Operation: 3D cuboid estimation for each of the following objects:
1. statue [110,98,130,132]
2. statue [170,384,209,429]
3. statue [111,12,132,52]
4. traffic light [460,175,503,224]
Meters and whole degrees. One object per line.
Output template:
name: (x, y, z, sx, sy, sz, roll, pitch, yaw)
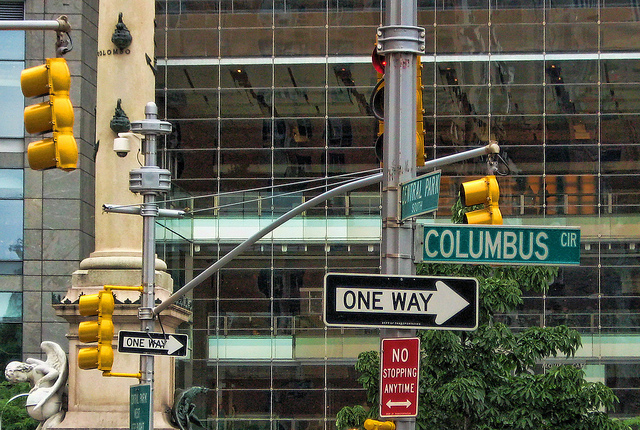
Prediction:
statue: (-7.390, -3.644, 72.601, 0.832, 1.138, 0.875, 0, -2, 0)
statue: (-4.766, 7.051, 70.543, 1.596, 1.824, 1.478, 2, 0, 1)
statue: (-7.355, -6.813, 72.685, 0.775, 1.470, 0.471, 1, -9, -5)
traffic light: (5.283, -0.305, 60.618, 1.166, 1.715, 1.006, -5, -3, 10)
